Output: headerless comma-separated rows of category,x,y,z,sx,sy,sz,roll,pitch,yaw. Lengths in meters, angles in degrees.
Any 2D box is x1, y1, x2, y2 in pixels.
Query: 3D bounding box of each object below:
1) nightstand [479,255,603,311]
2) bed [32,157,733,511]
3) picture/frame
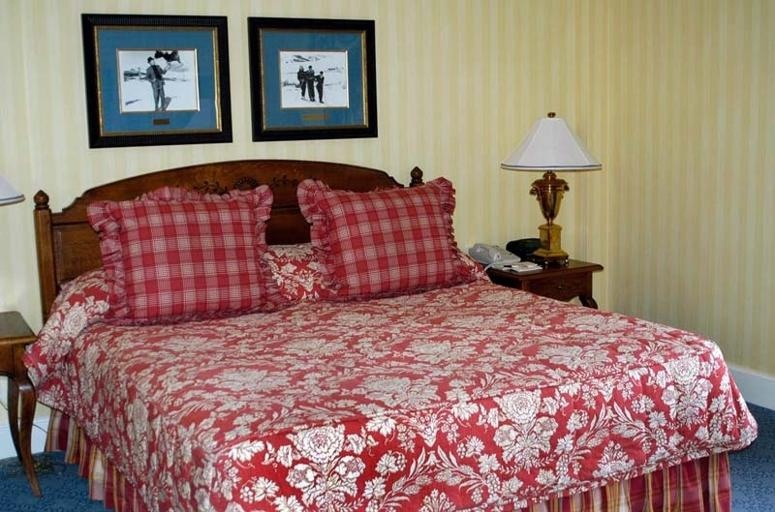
nightstand,1.044,0.094,4.187,0.463,0.421,0.437,-7,11,-37
bed,-0.139,0.347,3.006,1.972,0.998,1.900,-5,7,-30
picture/frame,-0.958,-1.109,3.947,1.764,0.811,0.191,-4,12,-15
